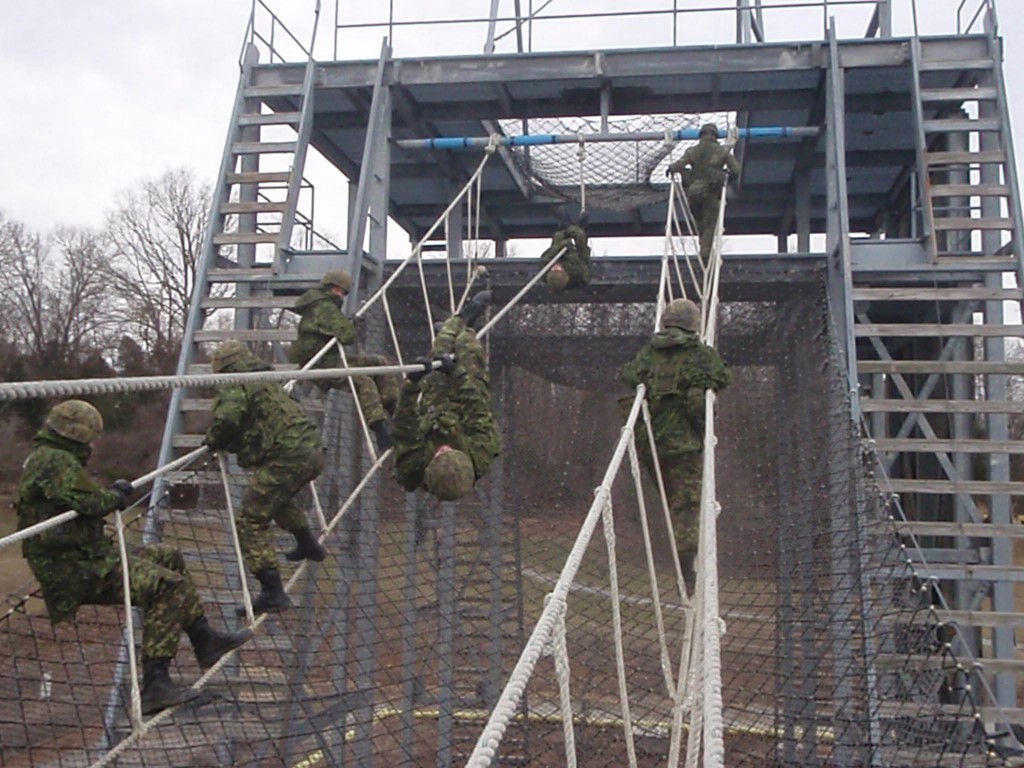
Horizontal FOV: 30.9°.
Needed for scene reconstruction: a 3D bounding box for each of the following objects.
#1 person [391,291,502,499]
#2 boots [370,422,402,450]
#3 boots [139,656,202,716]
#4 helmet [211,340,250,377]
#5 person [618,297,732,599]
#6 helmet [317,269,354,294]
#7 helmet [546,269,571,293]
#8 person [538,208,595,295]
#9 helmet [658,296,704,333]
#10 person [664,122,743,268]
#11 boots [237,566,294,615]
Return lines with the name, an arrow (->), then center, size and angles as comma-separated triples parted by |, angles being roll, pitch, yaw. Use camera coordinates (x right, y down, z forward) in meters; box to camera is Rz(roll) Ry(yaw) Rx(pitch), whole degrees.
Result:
person -> -0.806, 0.124, 21.297 | 1.175, 3.149, 0.836 | -18, -48, 16
boots -> -1.513, 0.609, 22.164 | 0.228, 0.362, 0.228 | -13, -22, -13
boots -> -3.736, 3.196, 19.963 | 0.765, 0.667, 0.282 | -10, -16, 19
helmet -> -3.296, -0.302, 21.545 | 0.305, 0.407, 0.201 | 2, -4, -6
person -> 1.937, 0.457, 21.760 | 1.136, 2.945, 0.515 | 3, -11, 3
helmet -> -2.168, -1.219, 22.773 | 0.305, 0.270, 0.247 | 2, -43, -30
helmet -> 0.575, -1.372, 24.039 | 0.230, 0.169, 0.285 | 15, -8, -5
person -> 0.724, -1.667, 24.023 | 0.707, 0.877, 0.670 | 5, -12, -7
helmet -> 2.027, -0.769, 22.061 | 0.335, 0.362, 0.451 | 1, -21, 13
person -> 2.538, -2.520, 24.496 | 0.830, 2.099, 0.959 | 3, -12, 7
boots -> -2.718, 2.339, 20.721 | 0.738, 0.630, 0.319 | -3, -11, 23
